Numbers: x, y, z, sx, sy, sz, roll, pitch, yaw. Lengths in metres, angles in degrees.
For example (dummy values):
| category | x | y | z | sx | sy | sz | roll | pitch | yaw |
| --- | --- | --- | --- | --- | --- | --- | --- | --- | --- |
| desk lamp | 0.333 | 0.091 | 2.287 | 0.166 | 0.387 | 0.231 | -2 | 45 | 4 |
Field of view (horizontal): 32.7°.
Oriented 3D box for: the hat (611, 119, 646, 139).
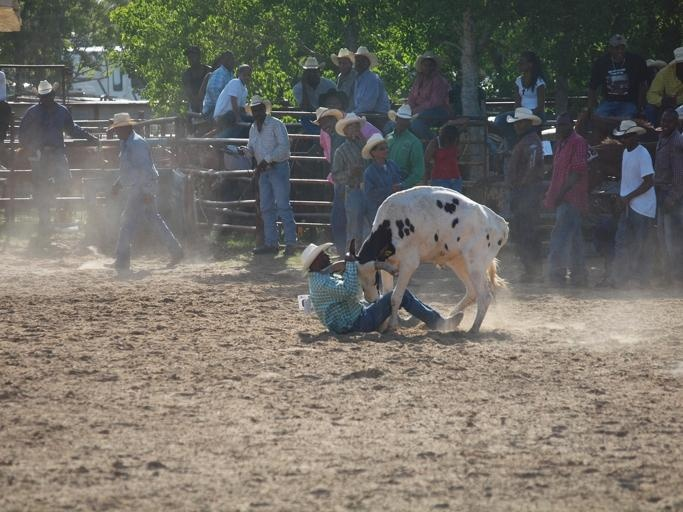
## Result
| category | x | y | z | sx | sy | sz | roll | pitch | yaw |
| --- | --- | --- | --- | --- | --- | --- | --- | --- | --- |
| hat | 4.234 | -1.902 | 17.102 | 0.506 | 0.245 | 0.325 | 3 | 6 | 30 |

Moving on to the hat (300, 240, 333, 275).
| category | x | y | z | sx | sy | sz | roll | pitch | yaw |
| --- | --- | --- | --- | --- | --- | --- | --- | --- | --- |
| hat | -0.346 | 0.007 | 14.942 | 0.354 | 0.396 | 0.550 | 0 | 5 | -2 |

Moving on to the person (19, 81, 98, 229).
| category | x | y | z | sx | sy | sz | roll | pitch | yaw |
| --- | --- | --- | --- | --- | --- | --- | --- | --- | --- |
| person | -5.116 | -1.775 | 20.384 | 1.085 | 2.617 | 0.757 | -2 | 5 | -16 |

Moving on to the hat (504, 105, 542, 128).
| category | x | y | z | sx | sy | sz | roll | pitch | yaw |
| --- | --- | --- | --- | --- | --- | --- | --- | --- | --- |
| hat | 2.963 | -2.260 | 18.247 | 0.401 | 0.182 | 0.388 | 8 | -9 | -13 |

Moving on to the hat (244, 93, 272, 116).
| category | x | y | z | sx | sy | sz | roll | pitch | yaw |
| --- | --- | --- | --- | --- | --- | --- | --- | --- | --- |
| hat | -1.321 | -2.600 | 19.320 | 0.447 | 0.488 | 0.135 | -6 | -30 | 26 |

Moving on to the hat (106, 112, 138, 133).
| category | x | y | z | sx | sy | sz | roll | pitch | yaw |
| --- | --- | --- | --- | --- | --- | --- | --- | --- | --- |
| hat | -3.493 | -2.164 | 18.452 | 0.330 | 0.250 | 0.740 | -1 | 5 | -13 |

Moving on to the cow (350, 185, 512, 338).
| category | x | y | z | sx | sy | sz | roll | pitch | yaw |
| --- | --- | --- | --- | --- | --- | --- | --- | --- | --- |
| cow | 1.224 | 0.022 | 15.162 | 1.785 | 1.883 | 0.614 | 0 | 5 | 6 |

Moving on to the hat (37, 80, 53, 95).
| category | x | y | z | sx | sy | sz | roll | pitch | yaw |
| --- | --- | --- | --- | --- | --- | --- | --- | --- | --- |
| hat | -5.174 | -2.938 | 20.133 | 0.319 | 0.191 | 0.437 | -12 | 10 | -16 |
